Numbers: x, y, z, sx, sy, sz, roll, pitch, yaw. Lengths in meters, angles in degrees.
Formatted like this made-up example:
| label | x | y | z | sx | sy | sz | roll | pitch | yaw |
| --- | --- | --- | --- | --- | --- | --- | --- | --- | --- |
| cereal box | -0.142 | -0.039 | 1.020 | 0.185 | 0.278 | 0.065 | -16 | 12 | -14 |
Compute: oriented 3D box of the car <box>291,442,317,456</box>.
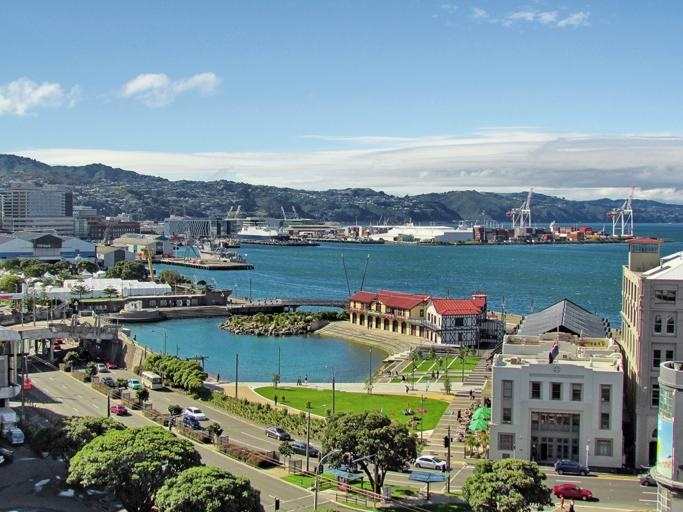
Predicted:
| label | x | y | z | sx | sy | sz | roll | pitch | yaw |
| --- | --- | --- | --- | --- | --- | --- | --- | --- | --- |
| car | -3.349 | 17.533 | 75.358 | 3.157 | 0.933 | 1.406 | 2 | 6 | 26 |

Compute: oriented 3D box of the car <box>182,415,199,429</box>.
| label | x | y | z | sx | sy | sz | roll | pitch | yaw |
| --- | --- | --- | --- | --- | --- | --- | --- | --- | --- |
| car | -15.035 | 16.561 | 82.502 | 0.794 | 0.602 | 1.787 | 1 | -3 | -36 |

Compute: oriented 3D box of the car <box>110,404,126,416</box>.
| label | x | y | z | sx | sy | sz | roll | pitch | yaw |
| --- | --- | --- | --- | --- | --- | --- | --- | --- | --- |
| car | -23.299 | 15.975 | 86.542 | 0.864 | 0.615 | 1.988 | 1 | 10 | -35 |

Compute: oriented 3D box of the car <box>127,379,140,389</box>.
| label | x | y | z | sx | sy | sz | roll | pitch | yaw |
| --- | --- | --- | --- | --- | --- | --- | --- | --- | --- |
| car | -24.426 | 15.077 | 97.903 | 0.848 | 0.603 | 1.952 | -1 | 9 | -33 |

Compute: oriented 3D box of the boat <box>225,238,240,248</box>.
| label | x | y | z | sx | sy | sz | roll | pitch | yaw |
| --- | --- | --- | --- | --- | --- | --- | --- | --- | --- |
| boat | -57.156 | -7.060 | 429.456 | 7.872 | 3.569 | 10.310 | 0 | 0 | -4 |

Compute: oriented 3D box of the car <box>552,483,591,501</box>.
| label | x | y | z | sx | sy | sz | roll | pitch | yaw |
| --- | --- | --- | --- | --- | --- | --- | --- | --- | --- |
| car | 18.092 | 18.514 | 65.166 | 2.818 | 0.815 | 1.136 | -1 | 11 | 6 |

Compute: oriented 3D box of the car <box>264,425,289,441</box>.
| label | x | y | z | sx | sy | sz | roll | pitch | yaw |
| --- | --- | --- | --- | --- | --- | --- | --- | --- | --- |
| car | -6.061 | 16.969 | 79.387 | 1.012 | 0.662 | 2.167 | 1 | -1 | -45 |

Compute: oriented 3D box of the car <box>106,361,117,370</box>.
| label | x | y | z | sx | sy | sz | roll | pitch | yaw |
| --- | --- | --- | --- | --- | --- | --- | --- | --- | --- |
| car | -30.794 | 14.609 | 110.973 | 0.937 | 0.811 | 1.882 | 2 | -2 | -31 |

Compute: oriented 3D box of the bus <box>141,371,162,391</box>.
| label | x | y | z | sx | sy | sz | roll | pitch | yaw |
| --- | --- | --- | --- | --- | --- | --- | --- | --- | --- |
| bus | -23.019 | 14.830 | 99.808 | 1.202 | 1.113 | 3.864 | -1 | -1 | -26 |

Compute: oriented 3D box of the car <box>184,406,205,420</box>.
| label | x | y | z | sx | sy | sz | roll | pitch | yaw |
| --- | --- | --- | --- | --- | --- | --- | --- | --- | --- |
| car | -15.113 | 16.151 | 85.425 | 1.040 | 0.678 | 2.212 | -1 | -1 | -34 |

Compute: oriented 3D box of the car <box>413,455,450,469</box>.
| label | x | y | z | sx | sy | sz | roll | pitch | yaw |
| --- | --- | --- | --- | --- | --- | --- | --- | --- | --- |
| car | 7.541 | 17.678 | 71.031 | 2.409 | 0.653 | 1.090 | -1 | 4 | 19 |

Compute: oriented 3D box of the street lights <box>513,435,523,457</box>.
| label | x | y | z | sx | sy | sz | roll | pitch | yaw |
| --- | --- | --- | --- | --- | --- | --- | --- | --- | --- |
| street lights | 15.465 | 16.638 | 72.774 | 0.818 | 1.902 | 0.242 | -1 | -1 | 10 |

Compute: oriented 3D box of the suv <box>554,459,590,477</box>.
| label | x | y | z | sx | sy | sz | roll | pitch | yaw |
| --- | --- | --- | --- | --- | --- | --- | --- | --- | --- |
| suv | 19.315 | 17.905 | 70.262 | 2.561 | 0.883 | 1.158 | -2 | 6 | 5 |
